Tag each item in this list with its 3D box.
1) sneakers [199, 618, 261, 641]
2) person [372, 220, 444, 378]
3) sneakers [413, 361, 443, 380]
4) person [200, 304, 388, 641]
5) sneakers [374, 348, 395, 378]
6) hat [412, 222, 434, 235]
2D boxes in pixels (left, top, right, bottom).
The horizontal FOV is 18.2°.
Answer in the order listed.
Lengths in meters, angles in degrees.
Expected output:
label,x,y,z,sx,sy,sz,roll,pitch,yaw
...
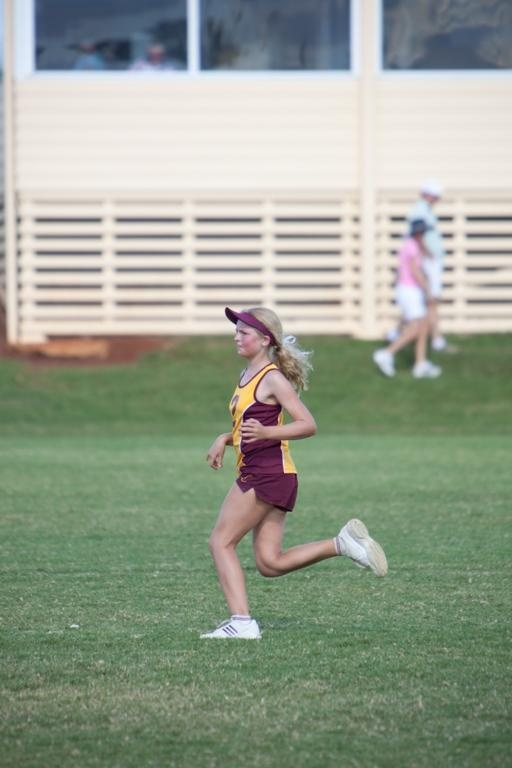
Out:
label,x,y,z,sx,sy,sz,roll,pitch,yaw
sneakers,-0.101,1.024,6.746,0.267,0.118,0.099,1,-8,-1
person,1.097,-0.605,11.502,0.465,1.152,0.351,-1,7,6
sneakers,1.252,-0.101,11.632,0.173,0.121,0.112,-6,19,-6
person,0.093,0.351,6.944,0.772,1.367,0.560,-3,7,-12
sneakers,0.941,-0.158,11.700,0.082,0.205,0.122,-16,-14,-34
hat,1.163,-1.097,11.310,0.091,0.104,0.083,-2,-3,3
